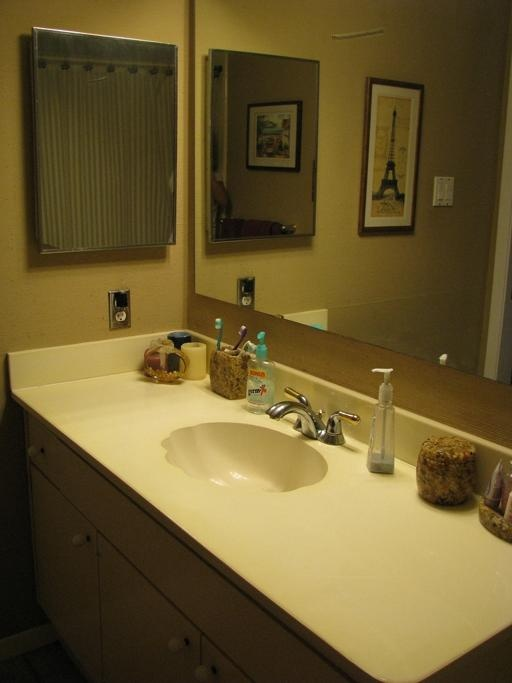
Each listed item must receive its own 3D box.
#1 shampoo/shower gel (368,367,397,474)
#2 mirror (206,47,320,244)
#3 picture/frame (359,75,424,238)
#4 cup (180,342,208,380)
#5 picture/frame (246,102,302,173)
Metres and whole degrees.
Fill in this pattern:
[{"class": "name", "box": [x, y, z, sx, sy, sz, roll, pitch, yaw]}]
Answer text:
[{"class": "shampoo/shower gel", "box": [0.260, 0.155, 1.071, 0.054, 0.216, 0.104, 3, 8, 14]}, {"class": "mirror", "box": [0.028, -0.546, 1.420, 0.028, 0.694, 0.473, -14, 21, -41]}, {"class": "picture/frame", "box": [0.267, -0.377, 1.046, 0.030, 0.313, 0.180, -3, 9, -26]}, {"class": "cup", "box": [-0.192, 0.060, 1.681, 0.082, 0.122, 0.105, -1, 11, -5]}, {"class": "picture/frame", "box": [0.052, -0.547, 1.385, 0.016, 0.189, 0.205, -5, 13, -34]}]
